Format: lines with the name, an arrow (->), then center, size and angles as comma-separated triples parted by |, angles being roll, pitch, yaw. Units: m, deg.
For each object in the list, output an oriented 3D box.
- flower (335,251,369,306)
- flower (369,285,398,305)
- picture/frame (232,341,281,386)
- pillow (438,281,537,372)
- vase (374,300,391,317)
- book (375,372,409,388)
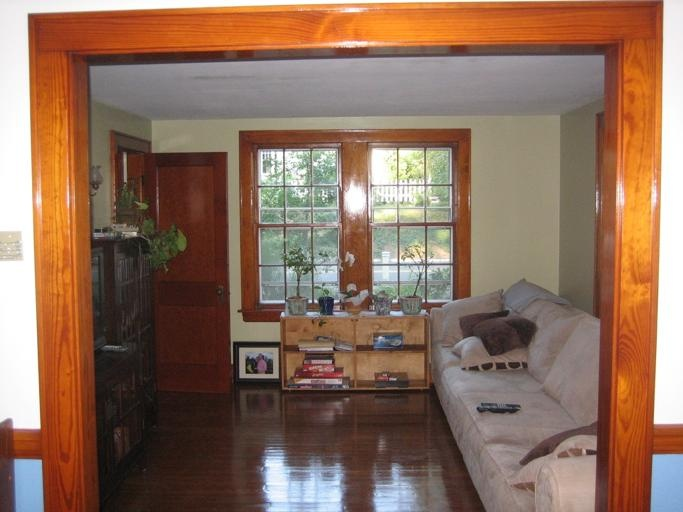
flower -> 0.131, 0.254, 6.169 | 0.323, 0.606, 0.529 | -1, 9, -1
flower -> 0.473, 0.374, 6.291 | 0.222, 0.139, 0.222 | 0, 9, 2
picture/frame -> -0.894, 1.150, 6.311 | 0.444, 0.403, 0.038 | 0, -7, 2
pillow -> 1.295, 0.688, 5.389 | 0.282, 0.630, 0.899 | 5, -2, -5
vase -> 0.414, 0.517, 5.966 | 0.148, 0.114, 0.135 | -3, 6, -45
book -> 0.507, 1.240, 5.988 | 0.341, 0.112, 0.260 | -1, 9, 1
